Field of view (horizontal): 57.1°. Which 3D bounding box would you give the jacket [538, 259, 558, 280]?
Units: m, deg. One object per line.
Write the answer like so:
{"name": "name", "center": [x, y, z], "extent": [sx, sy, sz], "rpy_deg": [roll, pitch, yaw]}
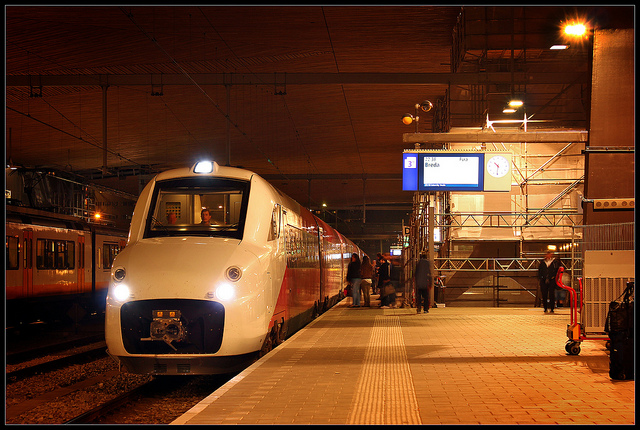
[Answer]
{"name": "jacket", "center": [7.688, 1.864, 20.002], "extent": [0.779, 0.831, 0.442], "rpy_deg": [2, 7, 23]}

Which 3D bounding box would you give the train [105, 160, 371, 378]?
{"name": "train", "center": [-1.767, 1.162, 14.238], "extent": [2.396, 4.369, 7.296], "rpy_deg": [-3, -6, 14]}

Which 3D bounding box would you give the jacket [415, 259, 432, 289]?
{"name": "jacket", "center": [3.582, 2.072, 20.540], "extent": [0.576, 0.992, 0.498], "rpy_deg": [-1, -5, 0]}

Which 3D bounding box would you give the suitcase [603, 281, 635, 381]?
{"name": "suitcase", "center": [5.152, 2.007, 10.153], "extent": [0.454, 1.619, 0.431], "rpy_deg": [-3, -5, 21]}

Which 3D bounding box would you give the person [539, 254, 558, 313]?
{"name": "person", "center": [7.817, 2.363, 20.397], "extent": [0.622, 1.982, 0.627], "rpy_deg": [3, -6, -40]}

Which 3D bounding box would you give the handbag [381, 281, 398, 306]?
{"name": "handbag", "center": [2.716, 3.176, 23.891], "extent": [0.564, 0.971, 1.010], "rpy_deg": [-2, -5, 5]}

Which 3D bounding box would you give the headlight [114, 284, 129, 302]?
{"name": "headlight", "center": [-3.667, 1.443, 10.927], "extent": [0.302, 0.296, 0.068], "rpy_deg": [-8, -14, 20]}

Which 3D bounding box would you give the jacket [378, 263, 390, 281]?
{"name": "jacket", "center": [2.594, 2.339, 23.929], "extent": [0.384, 0.653, 0.363], "rpy_deg": [-1, -5, -1]}

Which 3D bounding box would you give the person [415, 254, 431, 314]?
{"name": "person", "center": [3.578, 2.510, 20.730], "extent": [0.542, 1.872, 0.956], "rpy_deg": [-2, -5, 8]}

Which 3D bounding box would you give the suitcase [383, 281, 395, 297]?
{"name": "suitcase", "center": [2.697, 2.976, 23.633], "extent": [0.425, 0.626, 0.471], "rpy_deg": [-2, -5, 6]}

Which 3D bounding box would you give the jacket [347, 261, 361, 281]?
{"name": "jacket", "center": [1.308, 2.314, 24.269], "extent": [0.539, 0.738, 0.700], "rpy_deg": [5, -2, 6]}
